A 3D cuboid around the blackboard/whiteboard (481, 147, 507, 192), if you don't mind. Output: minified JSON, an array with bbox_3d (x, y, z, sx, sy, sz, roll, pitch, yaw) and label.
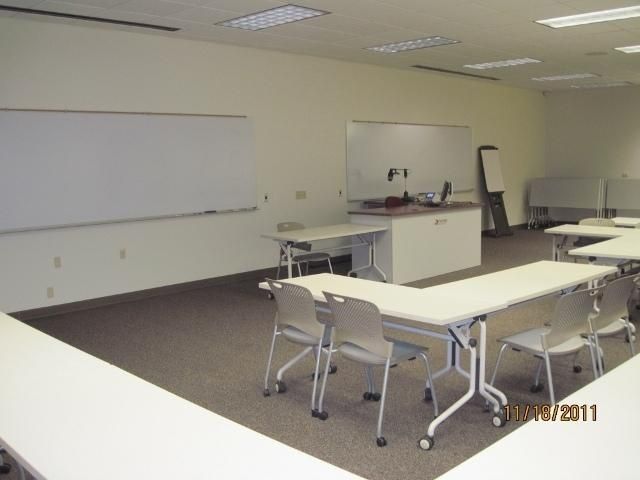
[{"bbox_3d":[4.519,-1.855,11.383,0.172,1.502,1.128,-12,-1,44],"label":"blackboard/whiteboard"}]
